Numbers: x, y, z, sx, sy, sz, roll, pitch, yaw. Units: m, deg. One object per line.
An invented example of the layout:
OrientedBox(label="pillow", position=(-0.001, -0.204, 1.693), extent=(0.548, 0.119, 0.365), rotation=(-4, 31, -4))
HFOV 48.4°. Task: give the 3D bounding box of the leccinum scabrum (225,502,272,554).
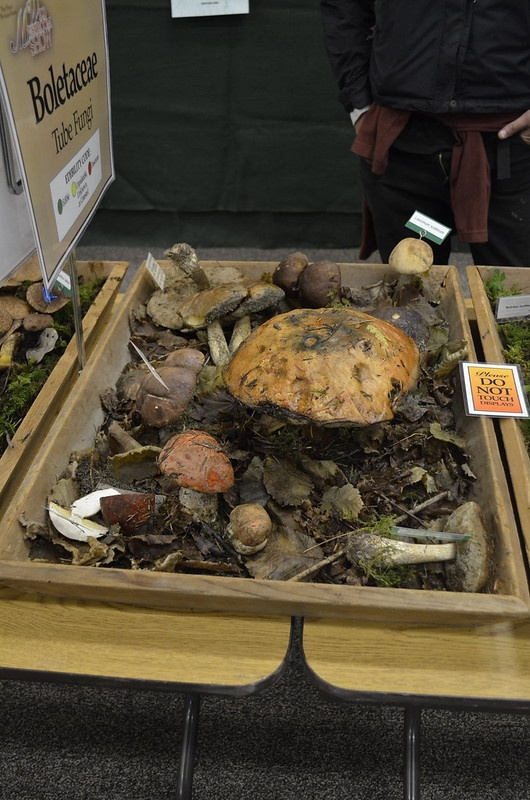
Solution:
OrientedBox(label="leccinum scabrum", position=(-0.046, 0.388, 1.707), extent=(0.115, 0.108, 0.142), rotation=(3, 53, -9))

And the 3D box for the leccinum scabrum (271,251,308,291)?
OrientedBox(label="leccinum scabrum", position=(0.115, -0.588, 2.621), extent=(0.046, 0.157, 0.166), rotation=(35, 41, -24))

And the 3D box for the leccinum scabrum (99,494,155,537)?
OrientedBox(label="leccinum scabrum", position=(-0.418, 0.341, 1.726), extent=(0.128, 0.095, 0.135), rotation=(-3, -13, 0))

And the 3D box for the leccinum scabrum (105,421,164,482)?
OrientedBox(label="leccinum scabrum", position=(-0.462, 0.186, 2.022), extent=(0.161, 0.064, 0.210), rotation=(-24, 38, -12))

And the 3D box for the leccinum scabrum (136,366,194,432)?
OrientedBox(label="leccinum scabrum", position=(-0.338, -0.025, 2.111), extent=(0.207, 0.064, 0.215), rotation=(-12, 43, 40))

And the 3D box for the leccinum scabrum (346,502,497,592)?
OrientedBox(label="leccinum scabrum", position=(0.441, 0.426, 1.683), extent=(0.347, 0.153, 0.230), rotation=(-2, 18, 4))
